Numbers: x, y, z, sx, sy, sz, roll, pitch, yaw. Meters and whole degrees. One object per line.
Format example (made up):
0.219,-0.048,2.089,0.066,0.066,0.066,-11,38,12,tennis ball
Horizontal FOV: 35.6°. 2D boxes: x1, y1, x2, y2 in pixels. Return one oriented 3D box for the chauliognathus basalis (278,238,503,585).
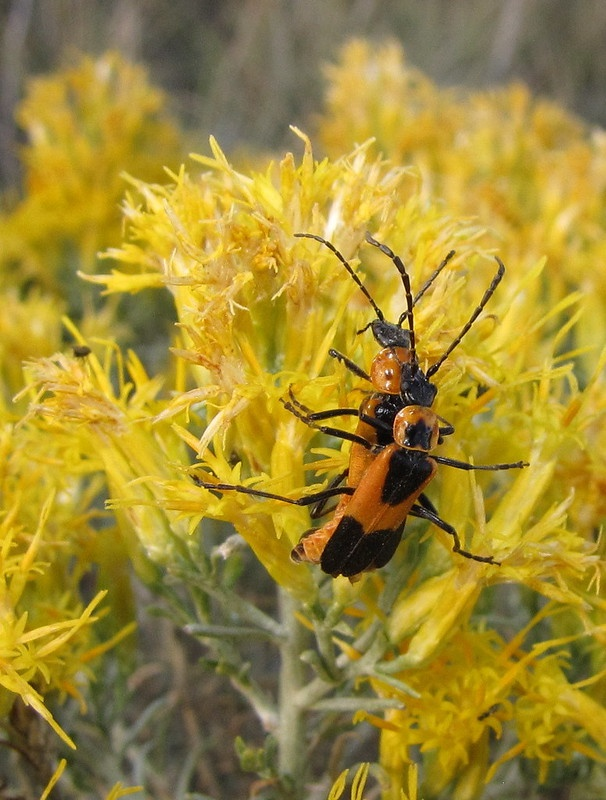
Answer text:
0.052,0.016,0.822,0.265,0.074,0.253,8,86,-31,chauliognathus basalis
